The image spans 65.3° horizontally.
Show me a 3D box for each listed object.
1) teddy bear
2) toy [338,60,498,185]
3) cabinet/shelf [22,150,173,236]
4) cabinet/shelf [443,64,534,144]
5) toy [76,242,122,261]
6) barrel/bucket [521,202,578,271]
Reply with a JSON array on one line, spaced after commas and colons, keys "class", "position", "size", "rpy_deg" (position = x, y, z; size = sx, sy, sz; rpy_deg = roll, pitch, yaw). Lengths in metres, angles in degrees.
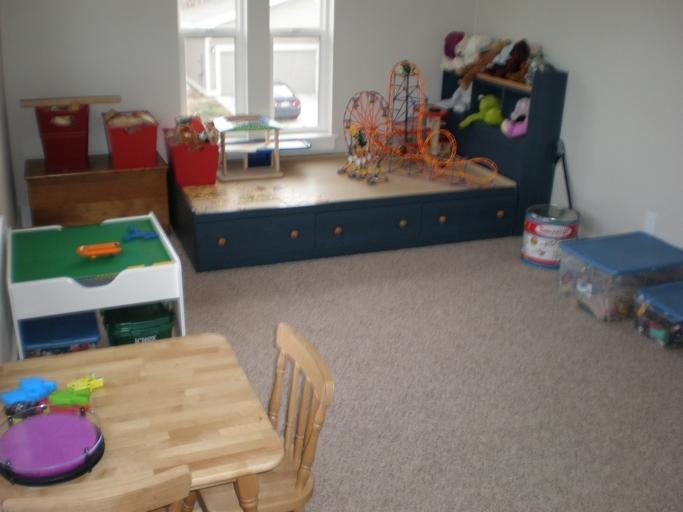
[{"class": "teddy bear", "position": [1.248, -1.574, 4.446], "size": [0.915, 0.327, 0.972], "rpy_deg": [-23, 43, 9]}, {"class": "toy", "position": [0.666, -1.157, 4.700], "size": [0.964, 0.711, 0.428], "rpy_deg": [15, 33, 22]}, {"class": "cabinet/shelf", "position": [-1.897, -0.571, 4.227], "size": [1.046, 0.549, 0.590], "rpy_deg": [-5, 39, -30]}, {"class": "cabinet/shelf", "position": [1.301, -1.284, 4.539], "size": [0.313, 0.498, 0.941], "rpy_deg": [-10, 25, -16]}, {"class": "toy", "position": [-1.146, -0.036, 2.527], "size": [0.161, 0.046, 0.098], "rpy_deg": [-8, 31, -19]}, {"class": "barrel/bucket", "position": [1.569, -0.156, 4.071], "size": [0.345, 0.420, 0.364], "rpy_deg": [-2, 25, 1]}]
